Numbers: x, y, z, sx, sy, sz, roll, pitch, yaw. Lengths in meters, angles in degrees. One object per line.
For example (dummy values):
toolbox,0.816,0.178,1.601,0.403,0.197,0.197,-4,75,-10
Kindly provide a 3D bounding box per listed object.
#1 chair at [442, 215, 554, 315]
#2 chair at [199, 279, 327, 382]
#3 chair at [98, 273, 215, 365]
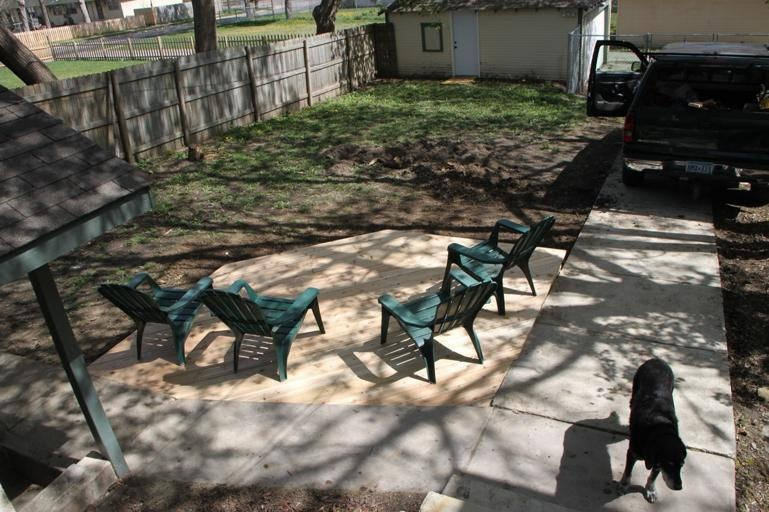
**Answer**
chair,1.650,-0.040,7.443,1.439,0.988,1.365,-19,27,-29
chair,-1.562,0.814,6.574,1.413,0.913,1.693,7,11,13
chair,-2.950,0.744,6.861,1.177,0.844,1.159,-2,13,14
